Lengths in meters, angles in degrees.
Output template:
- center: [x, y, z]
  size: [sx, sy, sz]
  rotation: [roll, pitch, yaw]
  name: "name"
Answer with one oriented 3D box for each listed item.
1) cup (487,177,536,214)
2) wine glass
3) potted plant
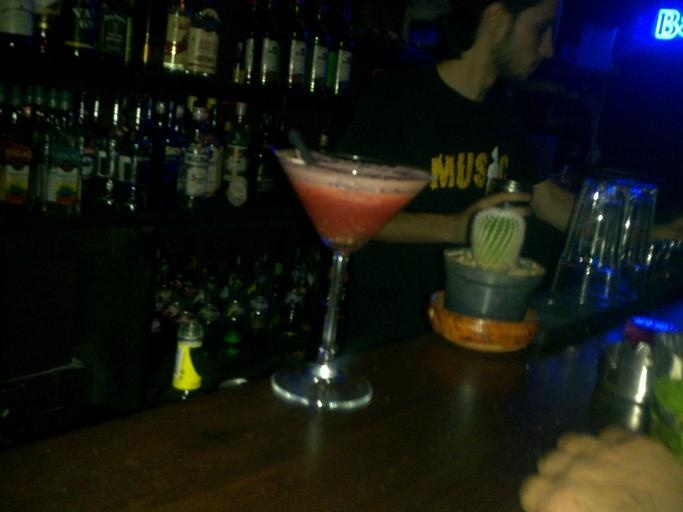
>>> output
- center: [0.458, -0.156, 1.512]
  size: [0.106, 0.083, 0.112]
  rotation: [0, 8, 0]
  name: "cup"
- center: [0.007, 0.023, 1.155]
  size: [0.280, 0.457, 0.368]
  rotation: [8, 15, 24]
  name: "wine glass"
- center: [0.350, 0.013, 1.328]
  size: [0.210, 0.250, 0.207]
  rotation: [2, 15, -18]
  name: "potted plant"
